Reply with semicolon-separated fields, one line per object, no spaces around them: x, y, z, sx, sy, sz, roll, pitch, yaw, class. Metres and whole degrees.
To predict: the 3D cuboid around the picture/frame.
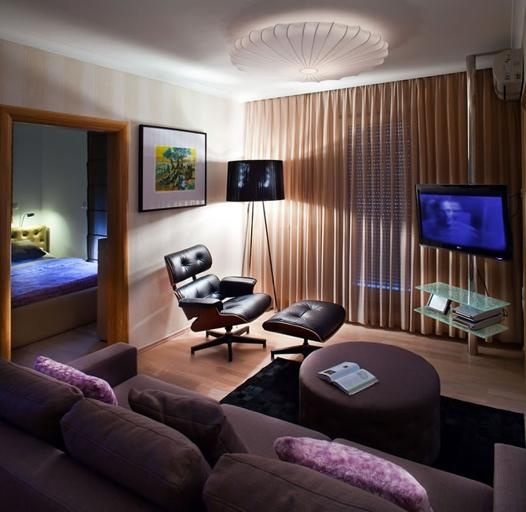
-0.896;-0.849;4.069;0.027;0.814;0.859;2;4;26;picture/frame

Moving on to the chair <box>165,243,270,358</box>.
-0.432;0.389;3.990;0.825;1.174;1.016;1;7;27;chair

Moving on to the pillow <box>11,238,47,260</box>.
-3.052;-0.061;5.373;0.300;0.115;0.358;4;8;-1;pillow

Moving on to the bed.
-2.408;0.266;4.538;1.179;0.602;0.946;7;11;40;bed
